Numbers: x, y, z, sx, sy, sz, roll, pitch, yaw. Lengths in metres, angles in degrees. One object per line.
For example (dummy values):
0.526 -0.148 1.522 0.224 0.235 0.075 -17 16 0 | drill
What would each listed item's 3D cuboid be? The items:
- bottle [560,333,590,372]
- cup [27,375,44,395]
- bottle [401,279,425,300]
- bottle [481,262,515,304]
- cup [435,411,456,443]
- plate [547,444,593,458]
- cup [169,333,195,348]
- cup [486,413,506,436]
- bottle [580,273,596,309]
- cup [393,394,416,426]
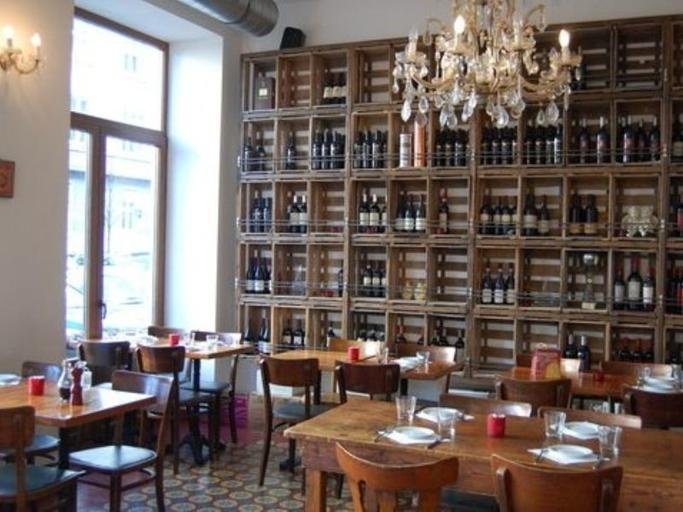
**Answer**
2.043 0.843 5.454 0.296 0.435 0.162 3 -6 -16 | bottle
-1.929 0.820 4.000 0.103 0.123 0.107 0 -3 0 | cup
0.726 0.337 6.188 0.242 0.239 0.175 1 0 29 | bottle
1.495 0.258 5.940 0.351 0.515 0.156 1 0 21 | bottle
0.587 0.912 3.379 0.120 0.143 0.120 -1 -4 0 | cup
1.141 0.962 3.103 0.193 0.031 0.188 3 -5 -44 | plate
-1.474 0.776 5.790 0.149 0.140 0.191 1 -8 -3 | cup
0.834 0.906 3.395 0.101 0.114 0.103 0 -5 0 | cup
2.238 0.307 5.643 0.113 0.329 0.297 -1 -3 21 | bottle
0.374 0.886 3.646 0.135 0.160 0.138 -1 -2 0 | cup
